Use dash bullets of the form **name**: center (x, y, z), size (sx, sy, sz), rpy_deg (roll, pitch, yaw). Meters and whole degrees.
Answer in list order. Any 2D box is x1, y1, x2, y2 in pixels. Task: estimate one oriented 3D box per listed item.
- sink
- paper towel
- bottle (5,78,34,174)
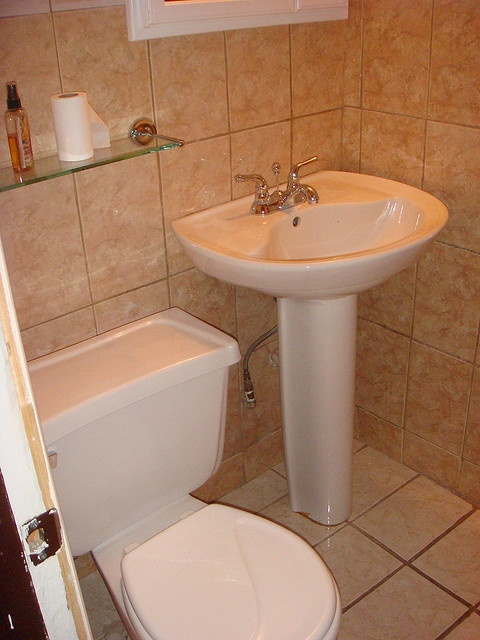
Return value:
- **sink**: center (0.208, -0.202, 1.314), size (0.637, 0.199, 0.521), rpy_deg (-20, 29, -37)
- **paper towel**: center (-0.294, -0.363, 1.020), size (0.058, 0.110, 0.118), rpy_deg (21, 37, 32)
- **bottle**: center (-0.398, -0.340, 0.967), size (0.042, 0.146, 0.118), rpy_deg (-10, 25, -17)
